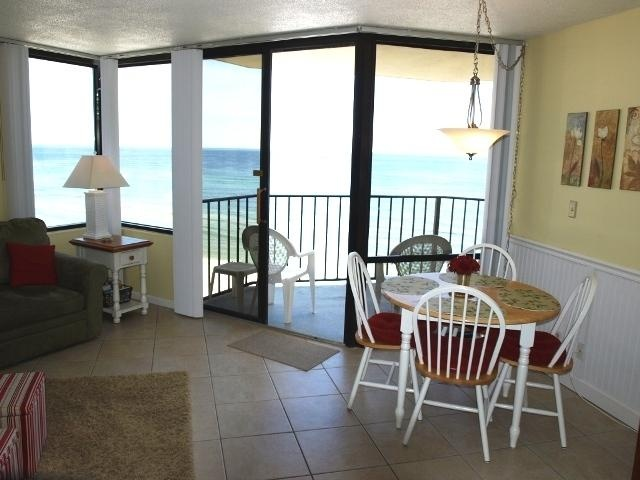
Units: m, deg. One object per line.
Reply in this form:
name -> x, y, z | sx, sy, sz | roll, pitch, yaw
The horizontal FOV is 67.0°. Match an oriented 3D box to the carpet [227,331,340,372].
carpet -> -0.335, 1.030, 4.606 | 0.932, 0.056, 0.584 | 7, 12, 31

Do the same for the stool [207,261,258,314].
stool -> -0.914, 0.484, 5.391 | 0.536, 0.424, 0.527 | 6, 9, 23

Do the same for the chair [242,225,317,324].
chair -> -0.359, 0.310, 5.317 | 0.538, 1.044, 0.781 | 10, 15, 37
